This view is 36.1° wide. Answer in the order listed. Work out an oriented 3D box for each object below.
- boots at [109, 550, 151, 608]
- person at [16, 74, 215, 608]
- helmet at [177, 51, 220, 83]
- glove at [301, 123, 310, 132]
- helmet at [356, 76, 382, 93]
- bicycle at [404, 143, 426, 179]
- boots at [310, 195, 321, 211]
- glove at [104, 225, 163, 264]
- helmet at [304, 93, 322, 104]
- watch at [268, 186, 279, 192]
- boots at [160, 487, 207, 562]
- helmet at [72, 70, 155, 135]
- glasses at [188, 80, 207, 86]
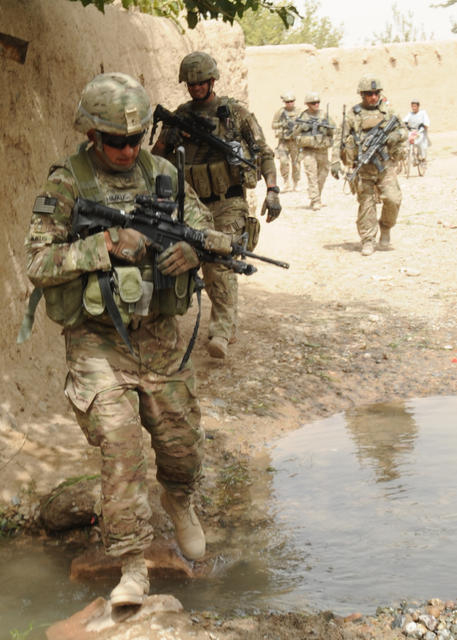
[{"bbox_3d":[-0.370,0.963,2.619,0.101,0.206,0.228,-16,-21,12],"label":"boots"},{"bbox_3d":[-0.403,0.098,2.729,0.468,2.090,0.781,-3,10,36],"label":"person"},{"bbox_3d":[-0.199,-1.733,4.879,0.264,0.153,0.247,2,34,16],"label":"helmet"},{"bbox_3d":[1.429,-3.571,12.974,0.153,0.134,0.138,-1,6,-3],"label":"glove"},{"bbox_3d":[1.794,-2.967,8.929,0.306,0.168,0.289,-4,17,-9],"label":"helmet"},{"bbox_3d":[4.477,-3.941,17.212,0.658,0.699,1.264,4,14,21],"label":"bicycle"},{"bbox_3d":[1.629,-2.198,13.113,0.294,0.281,0.760,0,5,6],"label":"boots"},{"bbox_3d":[-0.365,-0.276,2.600,0.104,0.140,0.236,-6,8,19],"label":"glove"},{"bbox_3d":[1.597,-4.232,13.412,0.274,0.190,0.261,1,7,31],"label":"helmet"},{"bbox_3d":[0.332,-0.972,5.192,0.066,0.035,0.053,2,16,1],"label":"watch"},{"bbox_3d":[-0.215,0.936,3.177,0.117,0.303,0.190,-24,-6,-24],"label":"boots"},{"bbox_3d":[-0.426,-0.810,2.566,0.240,0.208,0.273,-8,42,-18],"label":"helmet"},{"bbox_3d":[-0.222,-1.628,4.816,0.066,0.020,0.055,0,-2,-25],"label":"glasses"}]
